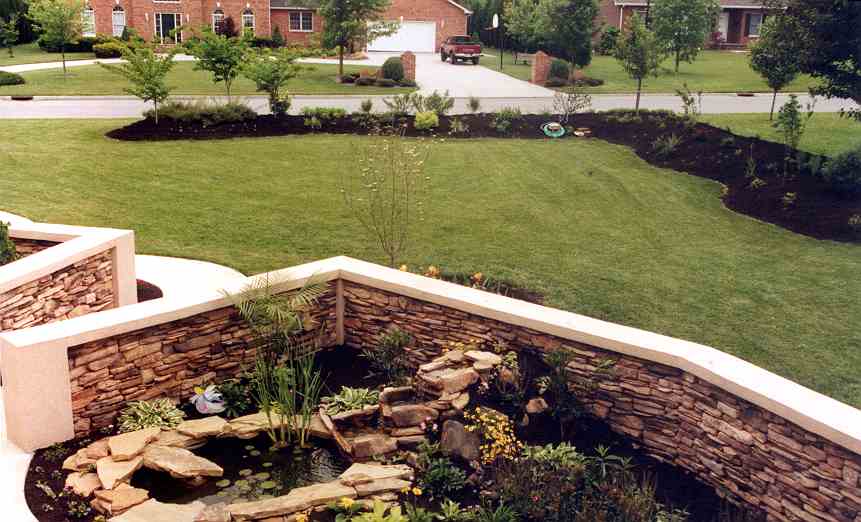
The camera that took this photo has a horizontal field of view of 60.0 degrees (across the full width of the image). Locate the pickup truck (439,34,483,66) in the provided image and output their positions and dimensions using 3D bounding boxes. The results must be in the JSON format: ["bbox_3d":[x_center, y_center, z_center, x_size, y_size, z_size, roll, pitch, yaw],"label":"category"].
[{"bbox_3d":[1.959,-13.816,49.125,1.641,1.768,2.996,-5,22,-19],"label":"pickup truck"}]
